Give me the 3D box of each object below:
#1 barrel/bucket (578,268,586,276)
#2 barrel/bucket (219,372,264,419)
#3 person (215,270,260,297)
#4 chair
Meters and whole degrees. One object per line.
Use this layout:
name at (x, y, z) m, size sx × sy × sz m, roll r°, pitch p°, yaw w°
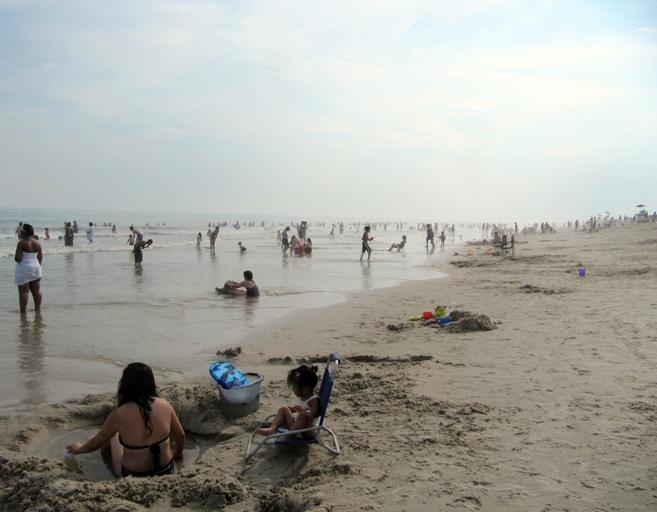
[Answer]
barrel/bucket at (8.085, 0.505, 20.572) m, size 0.180 × 0.165 × 0.140 m, roll -35°, pitch 3°, yaw -40°
barrel/bucket at (-1.273, 2.043, 9.551) m, size 0.536 × 0.430 × 0.616 m, roll -1°, pitch 1°, yaw -10°
person at (-2.533, 0.753, 18.682) m, size 0.717 × 0.740 × 1.468 m, roll -12°, pitch 14°, yaw -42°
chair at (-0.490, 2.022, 8.789) m, size 1.383 × 1.313 × 1.050 m, roll -1°, pitch 0°, yaw -16°
